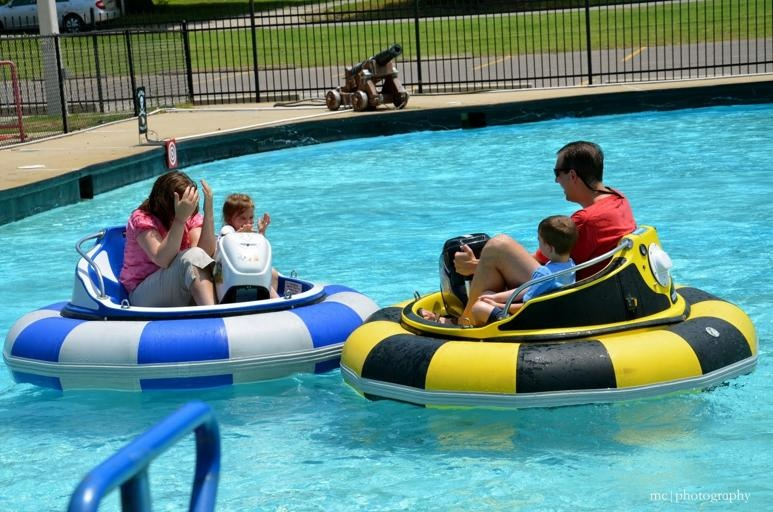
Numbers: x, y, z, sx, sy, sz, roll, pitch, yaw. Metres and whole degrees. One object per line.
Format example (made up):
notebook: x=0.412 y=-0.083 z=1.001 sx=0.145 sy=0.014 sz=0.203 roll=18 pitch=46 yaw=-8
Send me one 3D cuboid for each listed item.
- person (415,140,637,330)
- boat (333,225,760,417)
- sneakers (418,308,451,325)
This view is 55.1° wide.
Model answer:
person: x=0.952 y=-0.130 z=4.975 sx=1.578 sy=1.102 sz=0.664 roll=-8 pitch=8 yaw=14
boat: x=1.056 y=0.363 z=4.689 sx=2.612 sy=0.987 sz=0.974 roll=-4 pitch=8 yaw=-3
sneakers: x=0.337 y=0.429 z=5.151 sx=0.161 sy=0.057 sz=0.113 roll=14 pitch=4 yaw=7
